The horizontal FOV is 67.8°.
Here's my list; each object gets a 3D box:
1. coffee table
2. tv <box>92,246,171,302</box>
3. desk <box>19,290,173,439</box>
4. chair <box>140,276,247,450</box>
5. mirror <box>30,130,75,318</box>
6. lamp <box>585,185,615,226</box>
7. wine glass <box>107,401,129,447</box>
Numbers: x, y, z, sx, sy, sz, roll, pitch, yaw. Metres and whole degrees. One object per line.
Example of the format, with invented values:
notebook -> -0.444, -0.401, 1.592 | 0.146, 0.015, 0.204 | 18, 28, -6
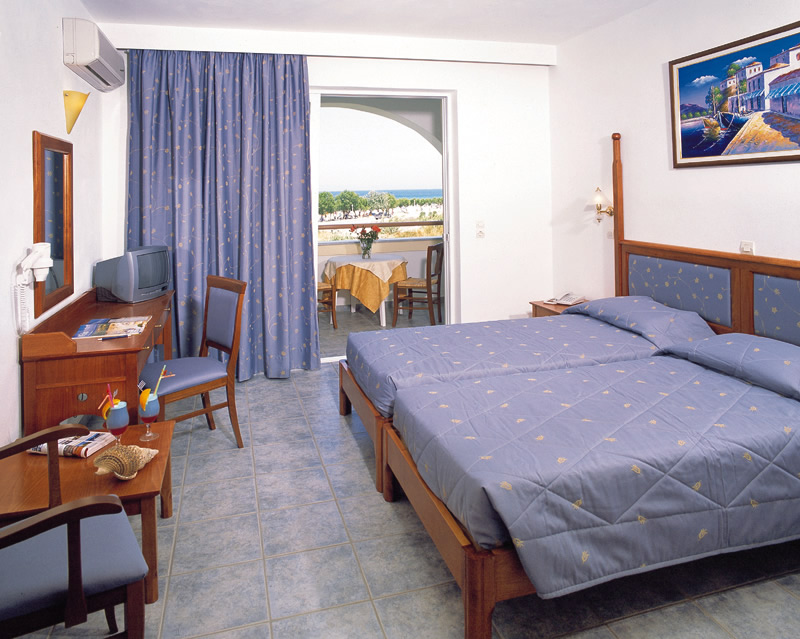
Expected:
coffee table -> -1.264, 0.679, 2.407 | 0.845, 0.456, 0.641 | -4, 7, -34
tv -> -1.967, -0.353, 4.456 | 0.389, 0.389, 0.526 | 6, 13, 17
desk -> -1.634, 0.250, 3.166 | 0.296, 0.533, 0.847 | -2, 10, -12
chair -> -1.363, 0.293, 3.862 | 0.630, 1.111, 0.609 | -4, 14, -29
mirror -> -2.043, -0.571, 3.537 | 0.092, 1.012, 0.814 | -4, 9, -16
lamp -> 1.731, -0.971, 5.125 | 0.263, 0.394, 0.295 | 0, 6, 8
wine glass -> -1.252, 0.496, 2.650 | 0.087, 0.199, 0.082 | -10, 23, -39
